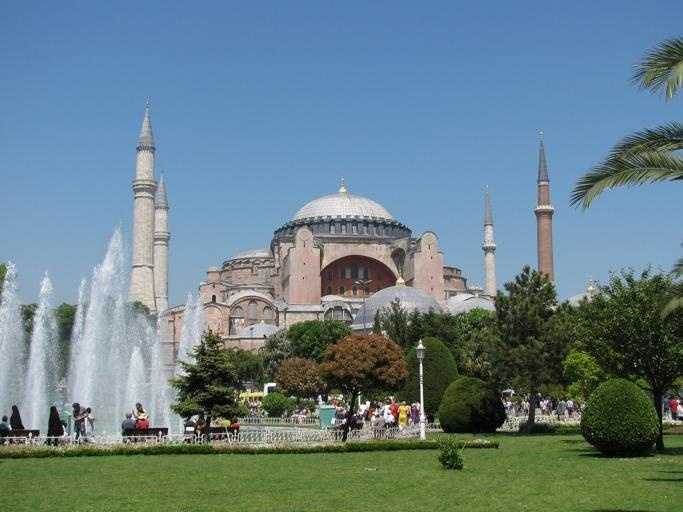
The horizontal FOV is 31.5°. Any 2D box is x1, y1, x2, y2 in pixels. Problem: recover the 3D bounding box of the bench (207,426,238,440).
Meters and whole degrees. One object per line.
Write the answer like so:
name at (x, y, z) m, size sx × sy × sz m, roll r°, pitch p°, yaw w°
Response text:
bench at (-3.688, 5.520, 37.474) m, size 0.915 × 0.530 × 1.516 m, roll -1°, pitch -13°, yaw -5°
